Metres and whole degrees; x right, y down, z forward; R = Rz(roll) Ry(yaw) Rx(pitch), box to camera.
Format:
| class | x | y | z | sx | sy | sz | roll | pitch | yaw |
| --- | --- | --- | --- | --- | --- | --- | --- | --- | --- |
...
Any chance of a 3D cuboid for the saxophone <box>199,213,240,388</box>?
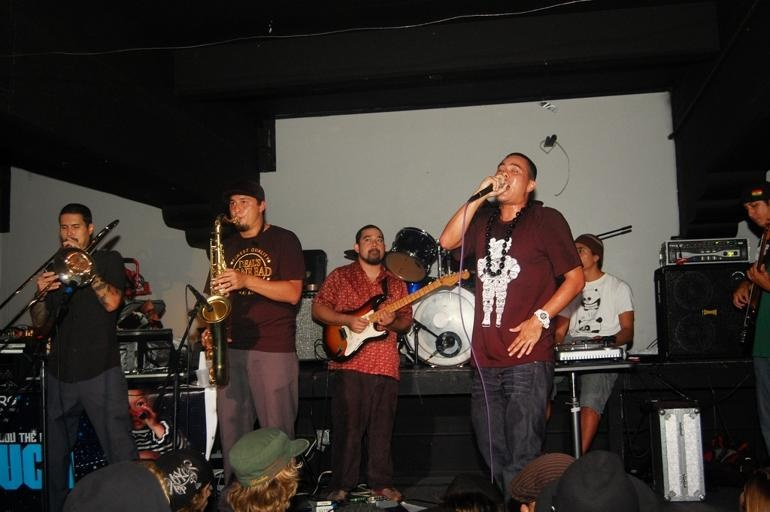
| class | x | y | z | sx | sy | sz | roll | pitch | yaw |
| --- | --- | --- | --- | --- | --- | --- | --- | --- | --- |
| saxophone | -1.335 | 0.314 | 5.960 | 0.236 | 1.380 | 0.572 | 2 | -8 | -14 |

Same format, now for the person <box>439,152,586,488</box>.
| class | x | y | z | sx | sy | sz | roll | pitch | yaw |
| --- | --- | --- | --- | --- | --- | --- | --- | --- | --- |
| person | 0.912 | 0.438 | 5.360 | 0.933 | 2.350 | 0.376 | -1 | -7 | 8 |

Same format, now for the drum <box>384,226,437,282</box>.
| class | x | y | z | sx | sy | sz | roll | pitch | yaw |
| --- | --- | --- | --- | --- | --- | --- | --- | --- | --- |
| drum | 0.239 | 0.043 | 7.000 | 0.434 | 0.374 | 0.496 | 12 | -45 | 20 |

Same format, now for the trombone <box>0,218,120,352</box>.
| class | x | y | z | sx | sy | sz | roll | pitch | yaw |
| --- | --- | --- | --- | --- | --- | --- | --- | --- | --- |
| trombone | -2.767 | 0.258 | 6.379 | 0.300 | 1.299 | 0.223 | 40 | -11 | 4 |

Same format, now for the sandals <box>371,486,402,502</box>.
| class | x | y | z | sx | sy | sz | roll | pitch | yaw |
| --- | --- | --- | --- | --- | --- | --- | --- | --- | --- |
| sandals | 0.018 | 1.940 | 6.205 | 0.140 | 0.047 | 0.145 | 4 | 1 | -22 |

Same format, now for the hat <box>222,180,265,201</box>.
| class | x | y | z | sx | sy | sz | roll | pitch | yaw |
| --- | --- | --- | --- | --- | --- | --- | --- | --- | --- |
| hat | -1.125 | -0.530 | 6.102 | 0.269 | 0.139 | 0.200 | 26 | -14 | -37 |

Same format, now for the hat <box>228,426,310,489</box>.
| class | x | y | z | sx | sy | sz | roll | pitch | yaw |
| --- | --- | --- | --- | --- | --- | --- | --- | --- | --- |
| hat | -0.733 | 1.186 | 4.710 | 0.387 | 0.188 | 0.282 | -20 | 20 | -31 |
